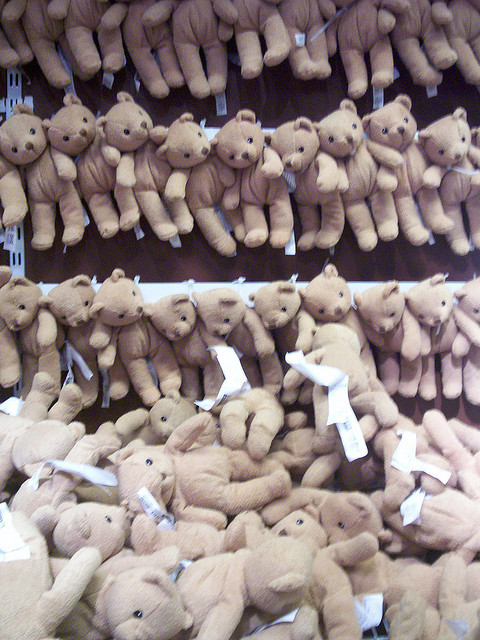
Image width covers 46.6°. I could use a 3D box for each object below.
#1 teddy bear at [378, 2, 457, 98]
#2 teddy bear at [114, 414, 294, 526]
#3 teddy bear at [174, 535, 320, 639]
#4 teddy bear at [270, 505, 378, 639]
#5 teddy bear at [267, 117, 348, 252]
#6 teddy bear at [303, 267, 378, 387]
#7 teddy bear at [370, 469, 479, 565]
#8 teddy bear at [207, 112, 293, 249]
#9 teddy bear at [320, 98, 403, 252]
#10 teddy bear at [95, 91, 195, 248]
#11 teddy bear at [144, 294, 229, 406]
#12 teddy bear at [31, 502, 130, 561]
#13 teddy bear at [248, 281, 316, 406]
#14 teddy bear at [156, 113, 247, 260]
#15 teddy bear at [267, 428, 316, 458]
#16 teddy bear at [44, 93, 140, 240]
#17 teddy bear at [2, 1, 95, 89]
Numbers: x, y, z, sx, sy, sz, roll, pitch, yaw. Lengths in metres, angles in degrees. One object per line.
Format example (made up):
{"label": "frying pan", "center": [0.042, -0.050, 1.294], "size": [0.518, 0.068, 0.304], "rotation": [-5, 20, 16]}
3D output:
{"label": "teddy bear", "center": [0.463, -0.714, 1.500], "size": [0.201, 0.259, 0.129], "rotation": [-7, 19, 5]}
{"label": "teddy bear", "center": [-0.097, 0.355, 1.259], "size": [0.265, 0.173, 0.264], "rotation": [0, 32, -2]}
{"label": "teddy bear", "center": [0.009, 0.483, 1.035], "size": [0.175, 0.107, 0.174], "rotation": [-21, 11, 18]}
{"label": "teddy bear", "center": [0.170, 0.510, 1.112], "size": [0.131, 0.079, 0.247], "rotation": [-8, 37, 11]}
{"label": "teddy bear", "center": [0.175, -0.372, 1.478], "size": [0.151, 0.337, 0.197], "rotation": [-4, 43, 26]}
{"label": "teddy bear", "center": [0.256, 0.026, 1.462], "size": [0.107, 0.333, 0.145], "rotation": [-21, 0, -5]}
{"label": "teddy bear", "center": [0.426, 0.452, 1.242], "size": [0.239, 0.090, 0.197], "rotation": [-9, 26, 9]}
{"label": "teddy bear", "center": [0.037, -0.373, 1.473], "size": [0.144, 0.352, 0.161], "rotation": [-2, 34, 27]}
{"label": "teddy bear", "center": [0.323, -0.402, 1.493], "size": [0.140, 0.353, 0.142], "rotation": [-23, 27, -12]}
{"label": "teddy bear", "center": [-0.277, -0.373, 1.610], "size": [0.216, 0.236, 0.463], "rotation": [-5, -11, -19]}
{"label": "teddy bear", "center": [-0.144, 0.074, 1.477], "size": [0.128, 0.283, 0.077], "rotation": [-13, 14, 25]}
{"label": "teddy bear", "center": [-0.315, 0.395, 1.125], "size": [0.109, 0.095, 0.117], "rotation": [5, 26, 1]}
{"label": "teddy bear", "center": [0.113, 0.063, 1.468], "size": [0.140, 0.351, 0.153], "rotation": [-10, 9, 40]}
{"label": "teddy bear", "center": [-0.104, -0.367, 1.465], "size": [0.116, 0.229, 0.164], "rotation": [27, 69, 23]}
{"label": "teddy bear", "center": [0.135, 0.312, 1.424], "size": [0.082, 0.052, 0.073], "rotation": [-2, 39, -9]}
{"label": "teddy bear", "center": [-0.369, -0.412, 1.488], "size": [0.180, 0.408, 0.142], "rotation": [-21, 9, 8]}
{"label": "teddy bear", "center": [-0.489, -0.715, 1.380], "size": [0.117, 0.278, 0.067], "rotation": [-13, 19, 9]}
